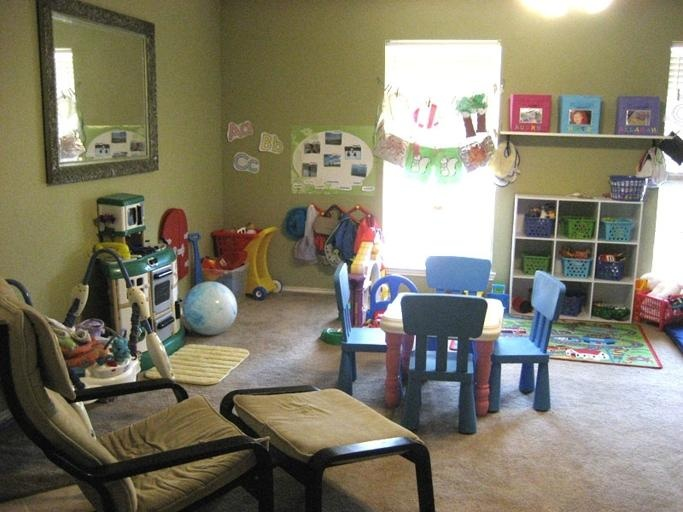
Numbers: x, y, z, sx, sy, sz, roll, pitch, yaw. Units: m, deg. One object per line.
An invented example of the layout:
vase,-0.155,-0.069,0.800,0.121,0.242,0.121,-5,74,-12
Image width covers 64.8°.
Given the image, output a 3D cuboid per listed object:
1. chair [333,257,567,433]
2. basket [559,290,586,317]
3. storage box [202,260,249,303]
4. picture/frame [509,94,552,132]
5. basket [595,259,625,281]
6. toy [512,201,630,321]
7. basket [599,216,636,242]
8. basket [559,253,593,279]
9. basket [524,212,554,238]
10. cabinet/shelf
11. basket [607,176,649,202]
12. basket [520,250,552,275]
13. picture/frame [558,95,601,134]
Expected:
chair,0.429,0.442,4.210,0.805,1.073,1.660,1,7,5
basket,2.144,0.444,5.030,0.284,0.213,0.432,0,2,16
storage box,-1.233,0.270,5.704,0.447,0.326,0.352,6,3,26
picture/frame,1.803,-1.359,5.233,0.376,0.372,0.368,0,2,8
basket,2.597,0.135,5.218,0.213,0.210,0.217,0,3,23
toy,2.236,0.031,5.160,1.099,1.140,0.360,2,5,5
basket,2.674,-0.271,5.213,0.290,0.195,0.231,1,7,14
basket,2.279,0.102,5.254,0.196,0.174,0.257,1,-1,9
basket,1.955,-0.304,5.348,0.281,0.206,0.201,4,12,20
cabinet/shelf,2.307,0.009,5.175,1.190,1.235,0.390,2,5,6
basket,2.691,-0.594,5.111,0.261,0.211,0.308,5,7,39
basket,1.935,0.051,5.493,0.373,0.254,0.277,-3,8,-4
picture/frame,2.304,-1.328,5.270,0.356,0.352,0.290,5,-2,8
